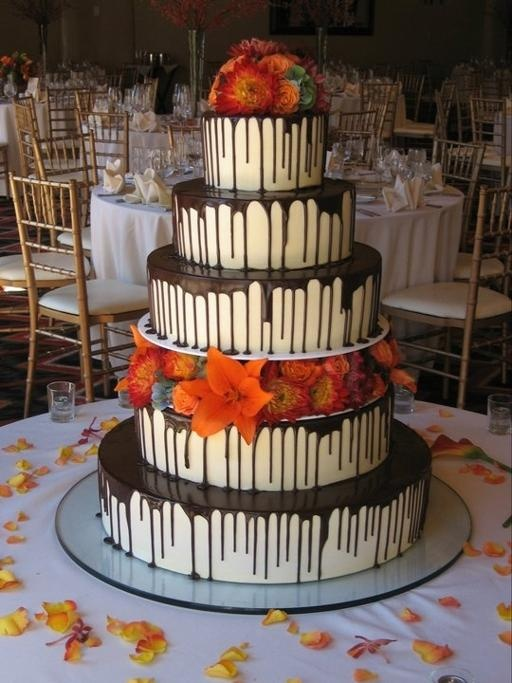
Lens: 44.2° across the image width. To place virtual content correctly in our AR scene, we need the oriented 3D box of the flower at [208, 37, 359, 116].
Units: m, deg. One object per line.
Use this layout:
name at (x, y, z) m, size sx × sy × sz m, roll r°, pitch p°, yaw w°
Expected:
flower at (0.035, -0.598, 1.477) m, size 0.254 × 0.121 × 0.249 m, roll 10°, pitch 20°, yaw 27°
